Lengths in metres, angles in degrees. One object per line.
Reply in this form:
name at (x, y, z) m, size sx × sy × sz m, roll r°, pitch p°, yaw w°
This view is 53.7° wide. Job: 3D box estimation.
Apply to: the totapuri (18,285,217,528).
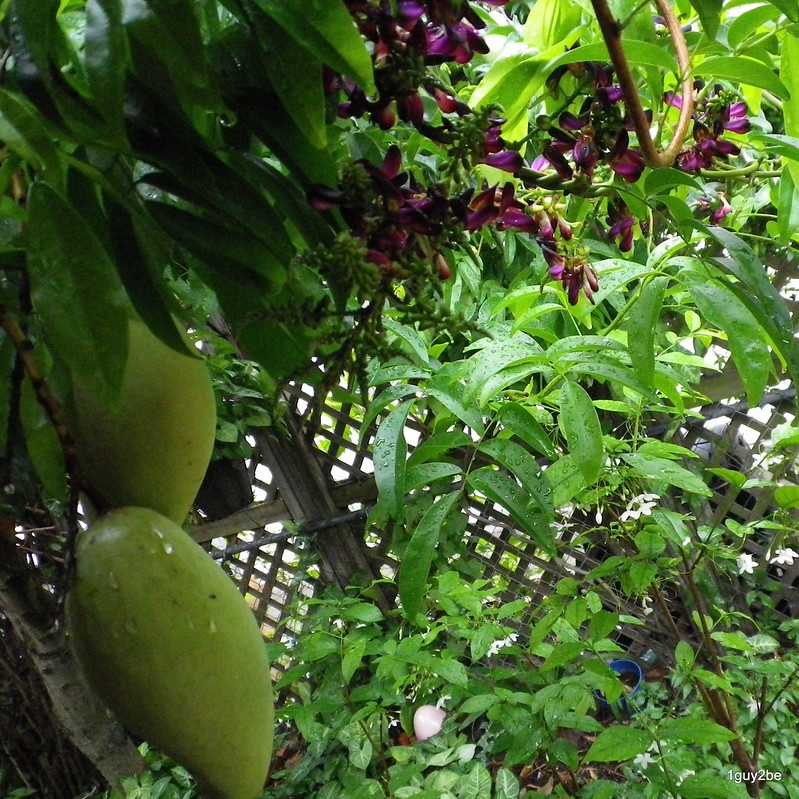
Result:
totapuri at (-0.151, 0.014, 0.481) m, size 0.094 × 0.132 × 0.113 m, roll 7°, pitch -5°, yaw -24°
